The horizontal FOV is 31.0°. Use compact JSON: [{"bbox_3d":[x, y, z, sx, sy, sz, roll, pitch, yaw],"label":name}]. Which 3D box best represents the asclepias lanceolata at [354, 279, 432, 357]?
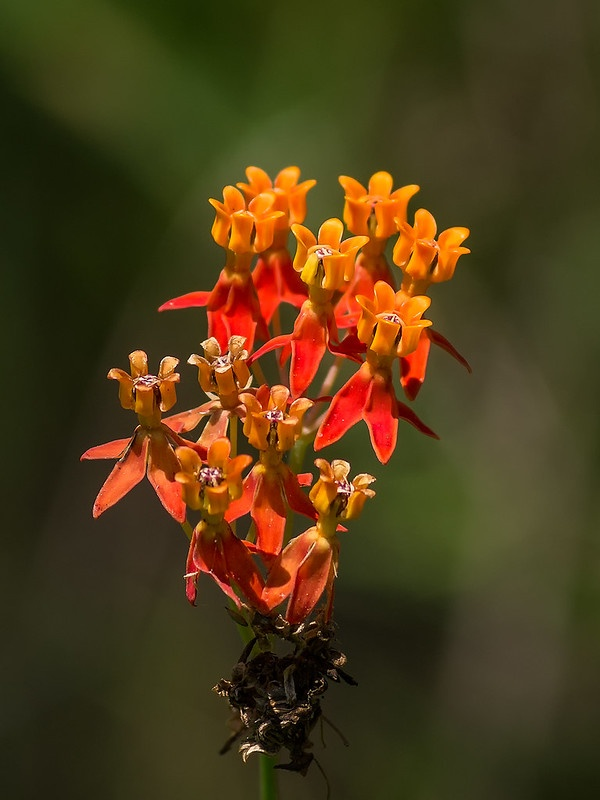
[{"bbox_3d":[0.134,-0.116,1.660,0.122,0.112,0.080,-15,-48,-22],"label":"asclepias lanceolata"}]

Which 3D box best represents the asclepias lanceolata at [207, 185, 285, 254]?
[{"bbox_3d":[-0.090,-0.281,1.692,0.112,0.112,0.090,9,-36,-6],"label":"asclepias lanceolata"}]

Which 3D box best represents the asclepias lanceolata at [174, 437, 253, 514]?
[{"bbox_3d":[-0.125,0.112,1.578,0.107,0.111,0.088,3,-53,4],"label":"asclepias lanceolata"}]

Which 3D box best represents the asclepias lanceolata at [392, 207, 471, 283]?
[{"bbox_3d":[0.205,-0.247,1.729,0.113,0.147,0.116,4,-36,2],"label":"asclepias lanceolata"}]

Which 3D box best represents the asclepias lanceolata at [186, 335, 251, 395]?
[{"bbox_3d":[-0.120,-0.045,1.664,0.091,0.090,0.112,4,-35,1],"label":"asclepias lanceolata"}]

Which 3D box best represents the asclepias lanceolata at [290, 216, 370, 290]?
[{"bbox_3d":[0.031,-0.208,1.648,0.094,0.093,0.074,12,-57,4],"label":"asclepias lanceolata"}]

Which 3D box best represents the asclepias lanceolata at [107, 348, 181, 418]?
[{"bbox_3d":[-0.240,-0.015,1.643,0.132,0.059,0.117,2,-8,-33],"label":"asclepias lanceolata"}]

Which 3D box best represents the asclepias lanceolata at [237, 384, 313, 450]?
[{"bbox_3d":[-0.030,0.030,1.599,0.122,0.115,0.077,4,-68,4],"label":"asclepias lanceolata"}]

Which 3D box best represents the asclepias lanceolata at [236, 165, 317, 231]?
[{"bbox_3d":[-0.031,-0.328,1.791,0.115,0.130,0.081,-8,-76,27],"label":"asclepias lanceolata"}]

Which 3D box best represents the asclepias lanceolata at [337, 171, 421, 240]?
[{"bbox_3d":[0.119,-0.315,1.747,0.128,0.126,0.080,-14,-59,-35],"label":"asclepias lanceolata"}]
